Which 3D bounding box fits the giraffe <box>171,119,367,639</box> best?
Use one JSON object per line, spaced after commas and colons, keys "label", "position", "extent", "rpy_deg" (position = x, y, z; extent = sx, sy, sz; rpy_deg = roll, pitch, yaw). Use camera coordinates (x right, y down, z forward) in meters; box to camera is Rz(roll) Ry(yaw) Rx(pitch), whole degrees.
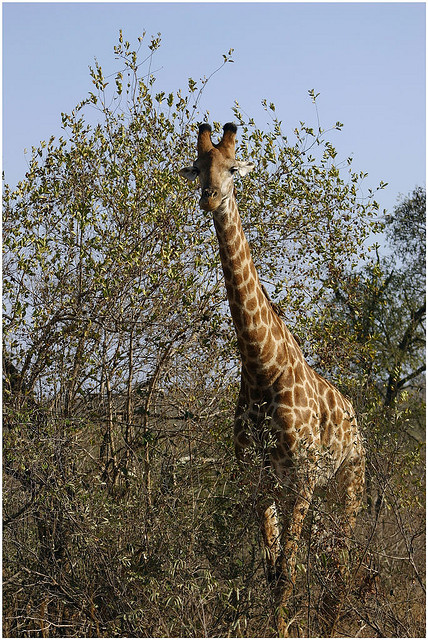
{"label": "giraffe", "position": [0.481, 0.483, 7.585], "extent": [0.813, 3.260, 2.411], "rpy_deg": [-12, -19, 11]}
